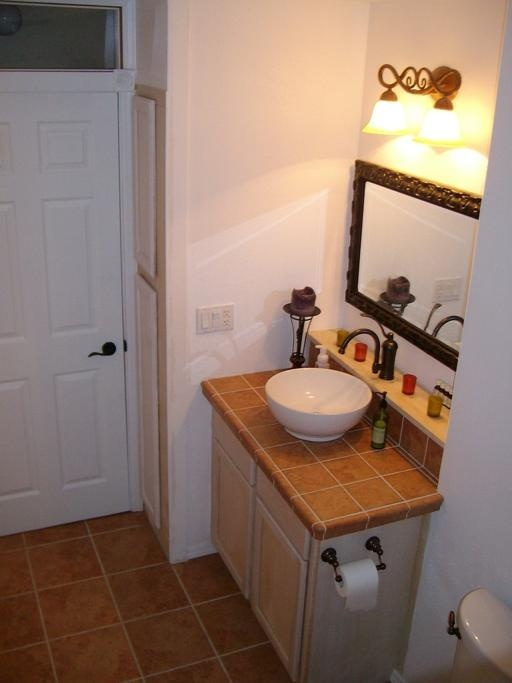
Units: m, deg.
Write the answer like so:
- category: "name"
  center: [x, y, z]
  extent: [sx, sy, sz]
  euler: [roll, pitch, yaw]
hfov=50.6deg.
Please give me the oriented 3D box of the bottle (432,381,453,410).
- category: "bottle"
  center: [0.606, 0.182, 1.758]
  extent: [0.024, 0.075, 0.077]
  euler: [-2, 13, -7]

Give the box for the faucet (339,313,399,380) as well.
- category: "faucet"
  center: [0.412, 0.051, 1.985]
  extent: [0.217, 0.235, 0.065]
  euler: [-9, 39, -3]

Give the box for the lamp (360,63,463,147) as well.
- category: "lamp"
  center: [0.495, -0.754, 1.703]
  extent: [0.300, 0.198, 0.147]
  euler: [23, 44, 30]

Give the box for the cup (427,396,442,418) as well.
- category: "cup"
  center: [0.579, 0.219, 1.757]
  extent: [0.041, 0.076, 0.048]
  euler: [6, 12, 6]

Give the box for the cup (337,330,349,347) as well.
- category: "cup"
  center: [0.350, -0.005, 2.192]
  extent: [0.043, 0.081, 0.046]
  euler: [1, 37, -1]
